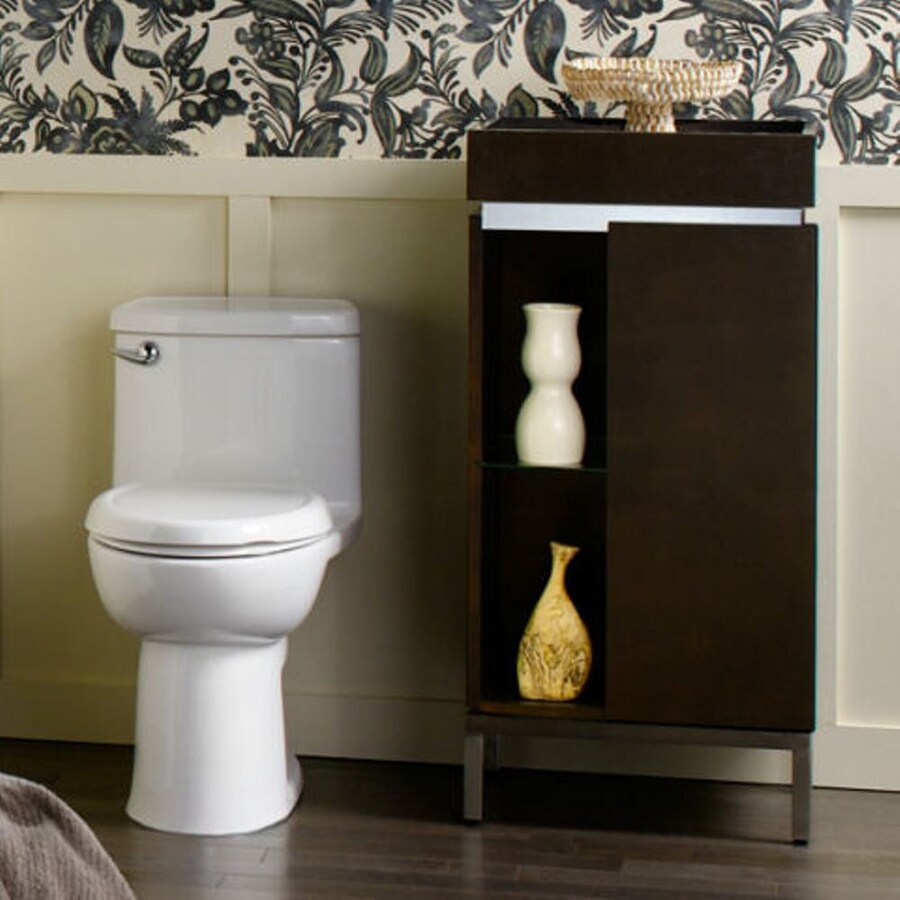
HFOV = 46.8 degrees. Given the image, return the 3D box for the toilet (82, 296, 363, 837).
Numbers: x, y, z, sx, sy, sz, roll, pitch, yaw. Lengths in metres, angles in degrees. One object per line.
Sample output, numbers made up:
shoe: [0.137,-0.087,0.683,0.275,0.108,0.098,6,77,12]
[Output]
toilet: [-0.381,0.178,1.772,0.456,0.876,0.522,0,6,-6]

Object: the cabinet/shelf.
cabinet/shelf: [0.285,0.020,1.767,0.497,1.083,0.362,3,13,14]
